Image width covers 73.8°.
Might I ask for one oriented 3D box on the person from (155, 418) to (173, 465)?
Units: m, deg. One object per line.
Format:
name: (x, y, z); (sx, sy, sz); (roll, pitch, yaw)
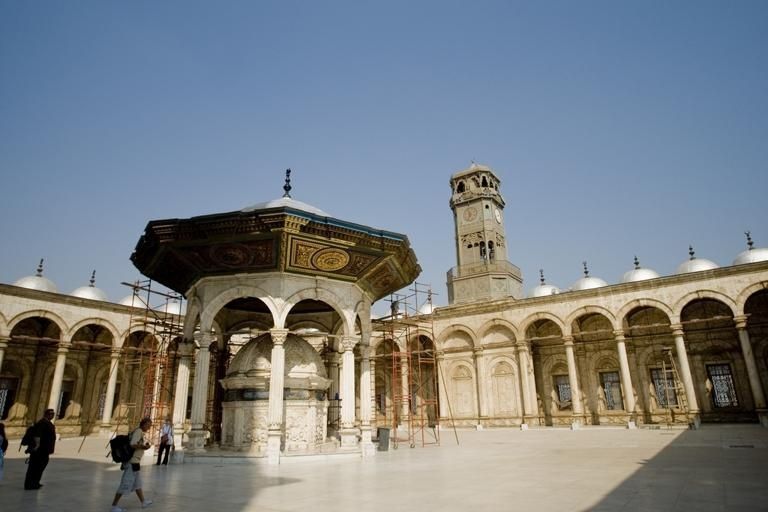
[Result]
person: (-8.378, 7.077, 19.549); (0.523, 1.691, 1.274); (5, -22, -21)

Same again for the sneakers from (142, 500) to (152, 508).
sneakers: (-6.143, 6.445, 13.263); (0.135, 0.141, 0.263); (-15, -23, 30)

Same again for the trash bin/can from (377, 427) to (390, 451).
trash bin/can: (-0.063, 7.928, 22.012); (0.554, 0.917, 0.475); (-10, -22, 19)

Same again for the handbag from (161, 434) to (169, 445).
handbag: (-8.314, 6.966, 19.285); (0.336, 0.132, 0.415); (2, -6, -15)

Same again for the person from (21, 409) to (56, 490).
person: (-10.337, 5.732, 15.221); (0.776, 2.287, 1.301); (9, -24, -29)
